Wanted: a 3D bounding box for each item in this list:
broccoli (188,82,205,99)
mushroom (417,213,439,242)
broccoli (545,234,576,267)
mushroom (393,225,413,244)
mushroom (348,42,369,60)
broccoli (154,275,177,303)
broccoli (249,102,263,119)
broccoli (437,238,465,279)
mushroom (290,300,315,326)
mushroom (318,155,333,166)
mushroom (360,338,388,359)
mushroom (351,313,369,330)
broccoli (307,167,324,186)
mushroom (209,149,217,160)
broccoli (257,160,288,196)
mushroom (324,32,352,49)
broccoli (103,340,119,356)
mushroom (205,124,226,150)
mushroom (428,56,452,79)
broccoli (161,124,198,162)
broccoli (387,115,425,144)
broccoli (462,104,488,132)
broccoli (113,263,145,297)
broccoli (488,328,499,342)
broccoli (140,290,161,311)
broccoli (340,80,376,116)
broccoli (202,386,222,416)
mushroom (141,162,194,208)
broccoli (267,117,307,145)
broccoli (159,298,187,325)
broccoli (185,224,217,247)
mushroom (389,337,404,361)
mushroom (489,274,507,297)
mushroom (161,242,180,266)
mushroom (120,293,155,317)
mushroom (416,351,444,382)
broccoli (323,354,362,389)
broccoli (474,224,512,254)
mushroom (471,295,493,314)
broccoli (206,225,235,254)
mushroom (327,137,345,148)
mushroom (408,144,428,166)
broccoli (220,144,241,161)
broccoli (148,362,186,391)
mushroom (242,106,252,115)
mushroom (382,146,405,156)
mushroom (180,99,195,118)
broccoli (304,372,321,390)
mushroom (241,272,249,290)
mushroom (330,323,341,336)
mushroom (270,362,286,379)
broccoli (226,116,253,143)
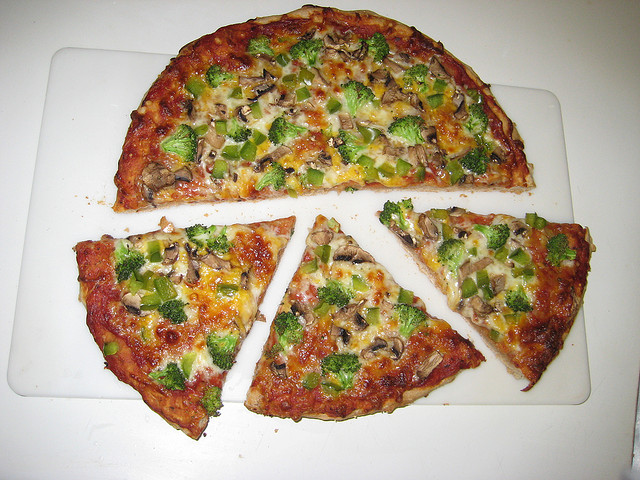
[{"bbox_3d":[-1.498,-1.866,7.090,0.174,0.047,0.166,-37,83,-5],"label":"broccoli"},{"bbox_3d":[1.324,-0.152,7.045,0.188,0.083,0.313,-25,84,0],"label":"mushroom"},{"bbox_3d":[3.008,0.035,7.163,0.153,0.343,0.339,12,110,37],"label":"broccoli"},{"bbox_3d":[1.020,-0.078,7.192,0.349,0.083,0.104,49,124,17],"label":"mushroom"},{"bbox_3d":[0.514,-2.369,7.253,0.181,0.061,0.227,38,105,-5],"label":"mushroom"},{"bbox_3d":[-1.777,0.559,6.623,0.202,0.077,0.297,-17,82,-8],"label":"broccoli"},{"bbox_3d":[-0.781,-1.584,7.079,0.099,0.047,0.198,-15,82,-3],"label":"broccoli"},{"bbox_3d":[1.603,0.211,7.027,0.306,0.203,0.444,-14,96,-13],"label":"broccoli"},{"bbox_3d":[-0.201,0.860,6.831,0.305,0.071,0.184,45,72,5],"label":"mushroom"},{"bbox_3d":[0.062,-0.981,7.077,0.172,0.064,0.103,6,81,1],"label":"mushroom"},{"bbox_3d":[0.616,1.264,6.714,0.346,0.041,0.154,-37,83,-5],"label":"mushroom"},{"bbox_3d":[0.456,0.969,6.771,0.206,0.052,0.172,42,84,6],"label":"mushroom"},{"bbox_3d":[-0.062,-0.790,7.105,0.207,0.062,0.173,14,82,2],"label":"broccoli"},{"bbox_3d":[-1.304,-1.050,7.035,0.073,0.026,0.099,6,82,1],"label":"mushroom"},{"bbox_3d":[-0.596,-0.759,7.026,0.269,0.132,0.400,45,101,4],"label":"broccoli"},{"bbox_3d":[0.197,-2.512,7.326,0.242,0.100,0.258,22,76,1],"label":"mushroom"},{"bbox_3d":[-2.395,1.231,6.632,0.170,0.054,0.144,-14,82,-2],"label":"broccoli"},{"bbox_3d":[-1.291,-1.251,7.045,0.250,0.060,0.192,39,83,5],"label":"mushroom"},{"bbox_3d":[1.503,-2.164,7.310,0.235,0.080,0.252,21,89,-4],"label":"mushroom"},{"bbox_3d":[-1.640,-1.133,6.968,0.397,0.101,0.394,-44,84,-6],"label":"broccoli"},{"bbox_3d":[1.069,-1.367,7.141,0.457,0.097,0.336,3,81,1],"label":"broccoli"},{"bbox_3d":[1.954,-1.524,7.146,0.282,0.092,0.321,-4,92,1],"label":"broccoli"},{"bbox_3d":[-2.208,0.429,6.697,0.253,0.401,0.144,27,42,35],"label":"broccoli"},{"bbox_3d":[2.079,1.140,6.932,0.106,0.045,0.132,10,82,2],"label":"broccoli"},{"bbox_3d":[-1.946,0.688,6.609,0.200,0.079,0.189,-3,67,-20],"label":"broccoli"},{"bbox_3d":[0.433,-1.770,7.331,0.397,0.379,0.374,39,77,-6],"label":"broccoli"},{"bbox_3d":[-1.231,1.828,6.660,0.159,0.220,0.292,12,109,-1],"label":"broccoli"},{"bbox_3d":[-1.870,-0.753,6.947,0.505,0.122,0.399,-17,101,-6],"label":"mushroom"},{"bbox_3d":[-0.399,-1.291,6.988,0.363,0.169,0.280,10,104,-12],"label":"broccoli"},{"bbox_3d":[-1.667,0.812,6.541,0.245,0.121,0.287,14,77,-1],"label":"broccoli"},{"bbox_3d":[-1.408,-0.085,6.905,0.277,0.122,0.251,-31,72,-20],"label":"broccoli"},{"bbox_3d":[0.900,1.265,6.729,0.155,0.043,0.266,-2,81,0],"label":"mushroom"},{"bbox_3d":[2.131,0.529,6.878,0.187,0.057,0.227,-5,90,-1],"label":"mushroom"},{"bbox_3d":[-1.739,0.168,6.789,0.151,0.065,0.246,13,78,4],"label":"mushroom"},{"bbox_3d":[-2.126,0.760,6.655,0.228,0.081,0.337,-42,89,-11],"label":"mushroom"},{"bbox_3d":[1.257,1.473,6.743,0.198,0.090,0.383,43,85,-6],"label":"mushroom"},{"bbox_3d":[0.236,1.466,6.642,0.420,0.128,0.367,28,83,4],"label":"broccoli"},{"bbox_3d":[2.122,-0.033,7.192,0.355,0.155,0.308,32,78,22],"label":"broccoli"},{"bbox_3d":[1.923,0.779,6.867,0.249,0.066,0.151,31,90,13],"label":"mushroom"},{"bbox_3d":[-1.167,-0.030,6.845,0.143,0.376,0.345,49,53,5],"label":"broccoli"},{"bbox_3d":[0.198,-1.200,7.090,0.197,0.037,0.121,-11,82,-2],"label":"mushroom"},{"bbox_3d":[1.190,-1.042,7.118,0.239,0.066,0.266,3,90,8],"label":"mushroom"},{"bbox_3d":[-1.093,-1.073,7.050,0.250,0.065,0.198,-1,81,0],"label":"broccoli"},{"bbox_3d":[-1.721,1.589,6.547,0.364,0.139,0.342,-25,82,-3],"label":"broccoli"},{"bbox_3d":[-0.899,-1.593,7.078,0.124,0.045,0.087,-26,82,-4],"label":"mushroom"},{"bbox_3d":[0.905,-1.097,7.120,0.268,0.049,0.114,1,81,0],"label":"mushroom"},{"bbox_3d":[-1.595,-1.611,7.045,0.119,0.041,0.255,-35,83,-5],"label":"mushroom"},{"bbox_3d":[-0.081,1.616,6.684,0.171,0.046,0.163,-44,93,-13],"label":"broccoli"},{"bbox_3d":[-0.887,0.480,6.795,0.043,0.147,0.150,-6,55,-21],"label":"mushroom"},{"bbox_3d":[0.184,1.058,6.739,0.128,0.031,0.112,17,82,3],"label":"mushroom"},{"bbox_3d":[-0.474,1.501,6.682,0.164,0.048,0.168,-9,84,21],"label":"mushroom"},{"bbox_3d":[-0.988,-1.354,7.157,0.232,0.110,0.281,-10,83,-3],"label":"broccoli"}]
